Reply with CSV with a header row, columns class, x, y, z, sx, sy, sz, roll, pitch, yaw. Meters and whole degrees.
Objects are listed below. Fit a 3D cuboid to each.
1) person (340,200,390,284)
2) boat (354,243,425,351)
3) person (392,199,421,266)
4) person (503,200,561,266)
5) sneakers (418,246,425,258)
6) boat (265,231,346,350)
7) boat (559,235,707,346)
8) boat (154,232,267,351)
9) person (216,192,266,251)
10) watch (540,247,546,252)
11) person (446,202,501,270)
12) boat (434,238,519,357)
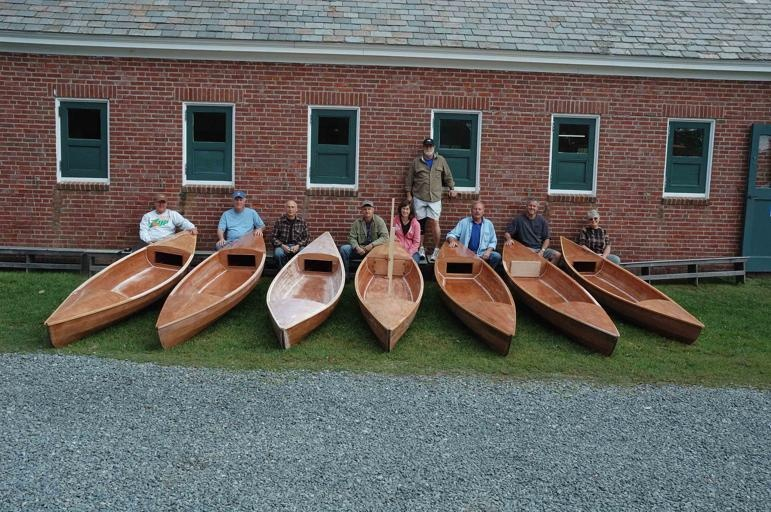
class,x,y,z,sx,sy,sz,roll,pitch,yaw
person,-0.387,-0.229,15.180,0.964,1.568,0.883,-8,14,-32
boat,0.076,0.562,13.842,1.088,0.643,3.651,3,22,0
person,0.440,-0.475,15.359,0.389,1.240,0.434,-4,14,-5
person,2.798,-0.415,15.670,1.136,1.335,0.860,5,2,26
sneakers,0.692,-0.078,15.272,0.170,0.236,0.579,1,4,5
boat,-1.248,0.437,14.006,1.136,0.521,3.606,6,28,3
boat,4.168,0.754,14.512,0.902,0.604,3.533,0,29,-22
boat,-2.899,0.528,13.783,0.832,0.448,2.596,12,30,6
person,-2.709,-0.547,15.421,0.881,0.580,1.475,-1,48,-10
watch,2.972,-0.119,15.469,0.076,0.079,0.050,-13,57,-6
person,1.700,-0.129,15.406,1.030,1.751,0.752,2,2,15
boat,1.525,0.641,14.237,1.150,0.655,3.639,-1,25,-11
